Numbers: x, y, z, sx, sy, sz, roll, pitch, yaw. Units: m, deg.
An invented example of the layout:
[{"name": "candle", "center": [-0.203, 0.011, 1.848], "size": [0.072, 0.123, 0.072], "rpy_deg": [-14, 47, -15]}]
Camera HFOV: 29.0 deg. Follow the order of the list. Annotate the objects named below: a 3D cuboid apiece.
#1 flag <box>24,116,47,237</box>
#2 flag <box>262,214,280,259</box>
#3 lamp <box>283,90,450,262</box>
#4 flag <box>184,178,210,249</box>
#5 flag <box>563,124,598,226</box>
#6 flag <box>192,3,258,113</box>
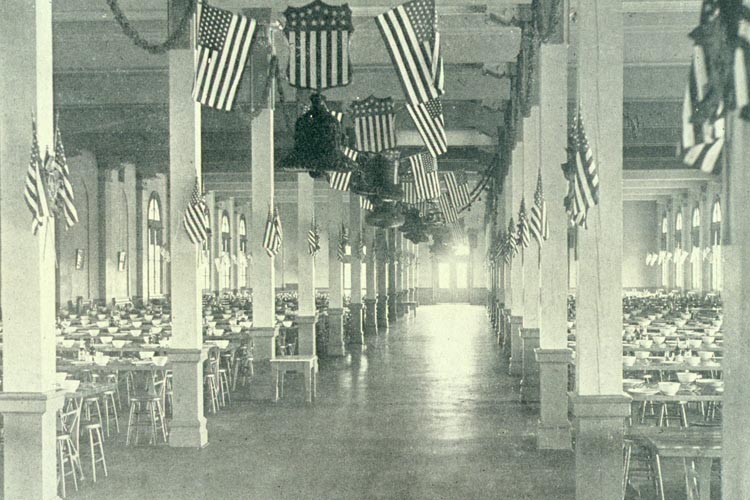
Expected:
[{"name": "flag", "center": [-5.845, -1.235, 24.972], "size": [0.372, 1.941, 0.116], "rpy_deg": [-2, -1, -13]}, {"name": "flag", "center": [-2.119, -0.394, 30.360], "size": [0.425, 1.296, 0.171], "rpy_deg": [-12, 36, -18]}, {"name": "lamp", "center": [-0.095, -1.629, 30.834], "size": [2.487, 1.773, 3.340], "rpy_deg": [10, 8, -6]}, {"name": "flag", "center": [-3.472, -0.706, 27.862], "size": [0.477, 1.261, 0.438], "rpy_deg": [-2, -2, -8]}, {"name": "flag", "center": [3.621, -1.308, 25.419], "size": [0.274, 1.843, 0.650], "rpy_deg": [-1, -2, -35]}, {"name": "flag", "center": [-2.655, -3.415, 25.467], "size": [1.130, 1.851, 0.516], "rpy_deg": [-2, -2, -1]}]
